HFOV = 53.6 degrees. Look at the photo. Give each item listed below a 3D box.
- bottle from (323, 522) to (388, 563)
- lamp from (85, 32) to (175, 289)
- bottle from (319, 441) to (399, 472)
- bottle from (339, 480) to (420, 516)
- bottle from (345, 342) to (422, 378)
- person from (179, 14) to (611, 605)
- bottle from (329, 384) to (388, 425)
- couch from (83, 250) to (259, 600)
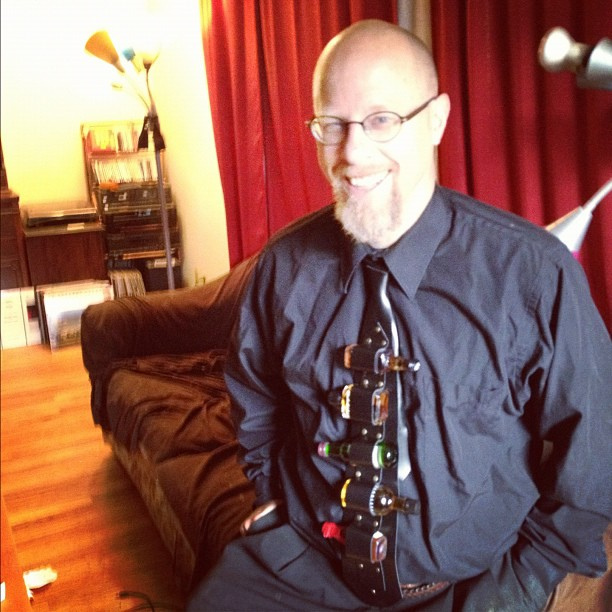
[{"bbox_3d":[0.078,0.374,0.995,0.083,0.059,0.036,11,7,24],"label":"bottle"},{"bbox_3d":[-1.104,-0.849,3.896,0.408,1.595,1.472,-4,12,-12],"label":"lamp"},{"bbox_3d":[0.080,0.236,0.967,0.130,0.052,0.044,2,12,17],"label":"bottle"},{"bbox_3d":[0.116,0.305,0.955,0.123,0.054,0.066,0,12,8],"label":"bottle"},{"bbox_3d":[0.120,0.088,0.977,0.128,0.055,0.085,2,13,17],"label":"bottle"},{"bbox_3d":[0.142,0.040,1.039,0.732,1.010,0.328,3,12,23],"label":"person"},{"bbox_3d":[0.084,0.153,0.949,0.071,0.054,0.033,10,24,28],"label":"bottle"},{"bbox_3d":[-0.491,0.419,2.120,0.381,0.424,0.985,-5,28,-16],"label":"couch"}]
